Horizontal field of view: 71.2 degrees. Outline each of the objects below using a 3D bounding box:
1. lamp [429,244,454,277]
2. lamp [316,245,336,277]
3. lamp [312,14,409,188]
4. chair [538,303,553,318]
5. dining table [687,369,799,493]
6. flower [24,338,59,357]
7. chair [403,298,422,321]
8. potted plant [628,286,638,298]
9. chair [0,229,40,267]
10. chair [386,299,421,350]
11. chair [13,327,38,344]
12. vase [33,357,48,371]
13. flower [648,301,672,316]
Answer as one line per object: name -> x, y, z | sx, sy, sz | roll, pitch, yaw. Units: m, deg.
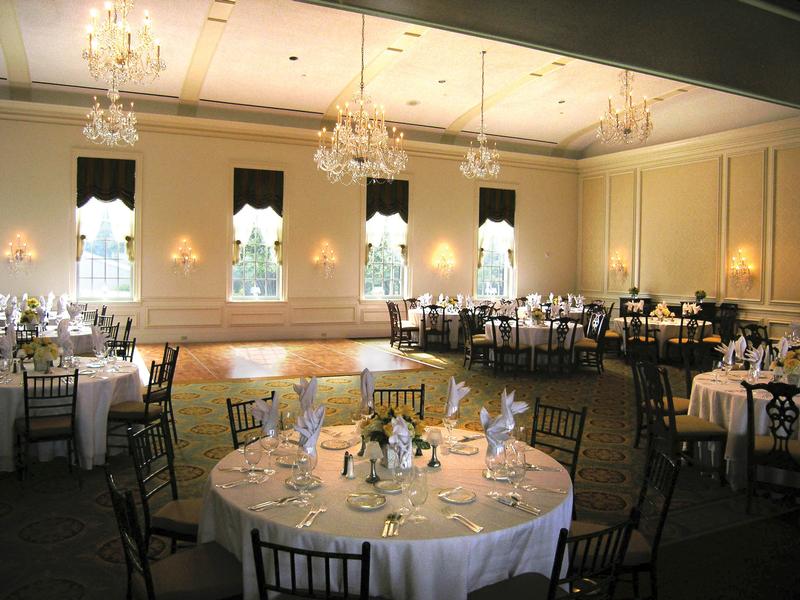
lamp -> 1.027, -1.054, 14.363 | 0.845, 1.047, 0.308 | 2, -1, -28
lamp -> -1.761, -0.971, 13.300 | 0.540, 0.803, 0.121 | -4, 8, -33
lamp -> -0.733, -3.448, 10.638 | 1.897, 2.290, 5.617 | 0, 6, -3
chair -> 2.778, 0.184, 10.687 | 0.236, 0.381, 0.233 | -3, 5, -18
dining table -> 2.838, 1.112, 4.847 | 0.867, 0.640, 0.861 | 1, 1, 7
flower -> -3.234, 0.423, 5.053 | 0.236, 0.198, 0.204 | 5, 2, 40
chair -> 0.296, 0.171, 12.563 | 0.453, 0.586, 0.431 | 0, 1, -15
potted plant -> 5.765, -0.227, 13.795 | 0.286, 0.295, 0.284 | -3, 5, -16
chair -> -7.553, -1.035, 11.089 | 0.632, 0.766, 0.621 | -3, 9, -24
chair -> -0.006, 0.532, 12.319 | 0.967, 1.323, 0.821 | -1, 6, -9
chair -> -4.701, 0.437, 7.031 | 0.251, 0.247, 0.254 | -1, 1, -6
vase -> -3.220, 0.569, 5.029 | 0.127, 0.140, 0.131 | 2, -1, -5
flower -> 5.518, 0.161, 11.833 | 0.298, 0.201, 0.280 | -7, 9, -39
